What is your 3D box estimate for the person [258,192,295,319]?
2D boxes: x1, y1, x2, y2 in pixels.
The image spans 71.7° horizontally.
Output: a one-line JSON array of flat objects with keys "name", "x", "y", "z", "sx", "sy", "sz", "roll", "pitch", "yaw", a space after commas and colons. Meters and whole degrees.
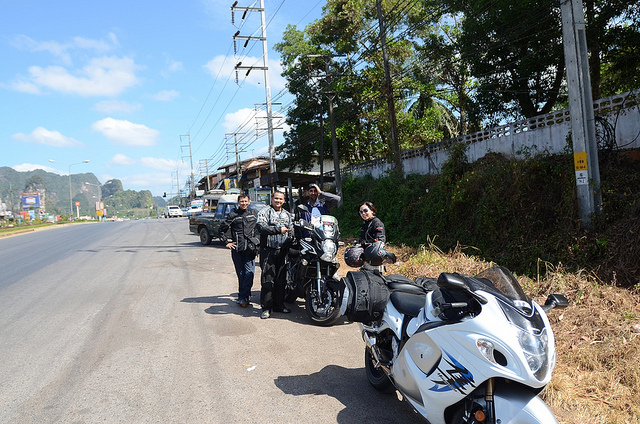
[{"name": "person", "x": -1.010, "y": 0.912, "z": 9.589, "sx": 0.959, "sy": 2.685, "sz": 0.824, "roll": -8, "pitch": 13, "yaw": -29}]

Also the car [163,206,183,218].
[{"name": "car", "x": -22.381, "y": -0.107, "z": 66.635, "sx": 1.460, "sy": 1.217, "sz": 3.237, "roll": 1, "pitch": -7, "yaw": -28}]

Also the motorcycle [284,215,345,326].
[{"name": "motorcycle", "x": -0.187, "y": 1.132, "z": 9.513, "sx": 0.981, "sy": 2.046, "sz": 3.067, "roll": 5, "pitch": 2, "yaw": -17}]

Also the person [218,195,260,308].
[{"name": "person", "x": -1.806, "y": 0.918, "z": 10.005, "sx": 0.815, "sy": 2.538, "sz": 0.849, "roll": -4, "pitch": 12, "yaw": -14}]

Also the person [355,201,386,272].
[{"name": "person", "x": 0.962, "y": 0.543, "z": 8.597, "sx": 0.555, "sy": 1.414, "sz": 2.232, "roll": 0, "pitch": 11, "yaw": 7}]
